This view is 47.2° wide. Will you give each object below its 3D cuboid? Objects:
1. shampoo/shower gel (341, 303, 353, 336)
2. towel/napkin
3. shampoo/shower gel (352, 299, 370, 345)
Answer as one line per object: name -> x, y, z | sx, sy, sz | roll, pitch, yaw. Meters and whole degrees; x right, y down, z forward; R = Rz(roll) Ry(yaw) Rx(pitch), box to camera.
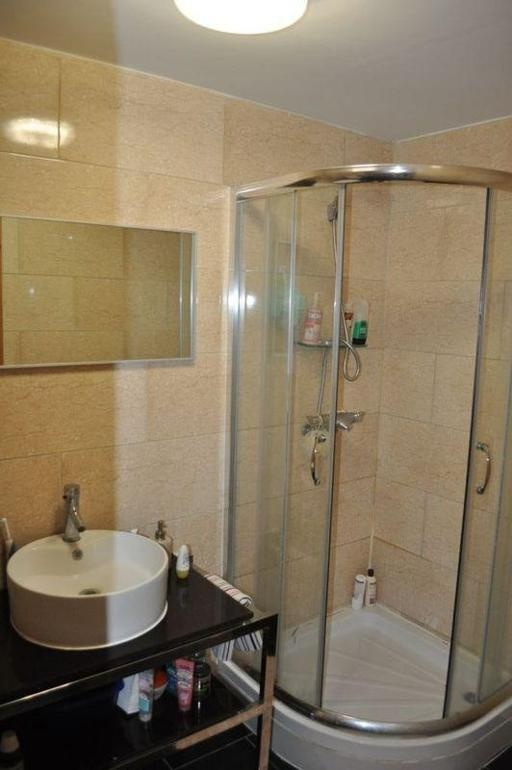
shampoo/shower gel -> 0.310, -0.222, 1.998 | 0.034, 0.119, 0.122 | 4, 9, 12
towel/napkin -> -0.077, 0.750, 1.863 | 0.110, 0.187, 0.252 | 3, -11, -18
shampoo/shower gel -> 0.365, -0.217, 2.063 | 0.090, 0.162, 0.026 | -4, 10, -36
